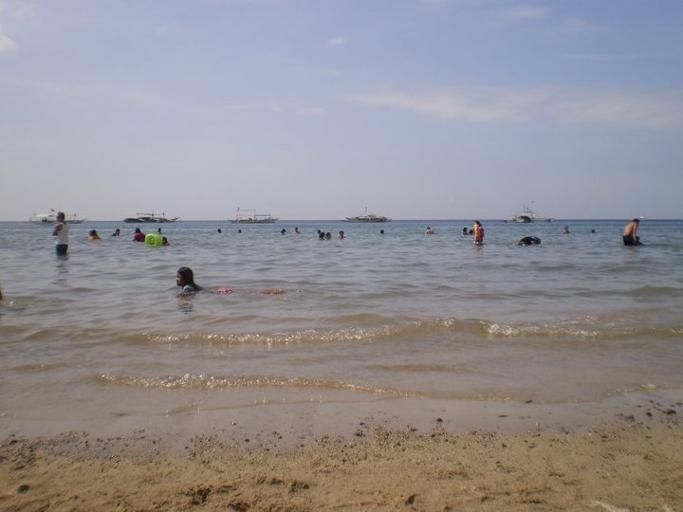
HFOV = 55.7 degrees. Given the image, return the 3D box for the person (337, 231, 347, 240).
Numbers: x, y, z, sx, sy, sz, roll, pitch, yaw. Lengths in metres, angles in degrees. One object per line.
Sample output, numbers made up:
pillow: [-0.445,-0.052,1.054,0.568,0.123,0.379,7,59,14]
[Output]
person: [0.019,-1.635,51.031,0.929,0.628,2.037,-4,2,-1]
